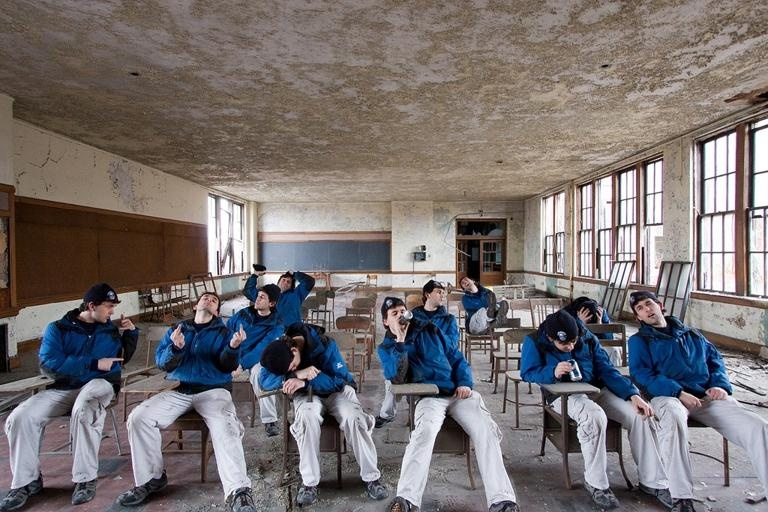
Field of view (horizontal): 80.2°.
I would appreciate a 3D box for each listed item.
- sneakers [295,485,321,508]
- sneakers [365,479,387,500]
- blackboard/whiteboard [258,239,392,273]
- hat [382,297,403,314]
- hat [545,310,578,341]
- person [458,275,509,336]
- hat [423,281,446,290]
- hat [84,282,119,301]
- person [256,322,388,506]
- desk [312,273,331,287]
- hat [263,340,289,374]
[{"bbox_3d":[-0.791,2.464,4.756,0.254,0.196,0.147,1,-1,-22],"label":"sneakers"},{"bbox_3d":[-0.091,2.452,4.817,0.117,0.108,0.291,4,-12,-26],"label":"sneakers"},{"bbox_3d":[-2.246,-0.052,18.893,4.874,1.302,0.309,0,-1,-2],"label":"blackboard/whiteboard"},{"bbox_3d":[0.096,0.533,5.246,0.171,0.173,0.227,-1,25,22],"label":"hat"},{"bbox_3d":[2.006,0.718,5.241,0.449,0.316,0.547,0,11,24],"label":"hat"},{"bbox_3d":[1.639,0.700,7.497,0.594,0.964,0.842,0,-24,-33],"label":"person"},{"bbox_3d":[0.650,0.355,5.643,0.279,0.113,0.271,3,-4,-43],"label":"hat"},{"bbox_3d":[-3.261,0.403,5.274,0.295,0.155,0.216,-2,9,-40],"label":"hat"},{"bbox_3d":[-0.671,1.652,4.966,1.255,1.823,0.540,0,-1,-3],"label":"person"},{"bbox_3d":[-2.516,0.894,18.655,0.800,0.660,0.582,0,-7,1],"label":"desk"},{"bbox_3d":[-1.135,1.060,4.826,0.325,0.385,0.154,1,-1,-16],"label":"hat"}]
